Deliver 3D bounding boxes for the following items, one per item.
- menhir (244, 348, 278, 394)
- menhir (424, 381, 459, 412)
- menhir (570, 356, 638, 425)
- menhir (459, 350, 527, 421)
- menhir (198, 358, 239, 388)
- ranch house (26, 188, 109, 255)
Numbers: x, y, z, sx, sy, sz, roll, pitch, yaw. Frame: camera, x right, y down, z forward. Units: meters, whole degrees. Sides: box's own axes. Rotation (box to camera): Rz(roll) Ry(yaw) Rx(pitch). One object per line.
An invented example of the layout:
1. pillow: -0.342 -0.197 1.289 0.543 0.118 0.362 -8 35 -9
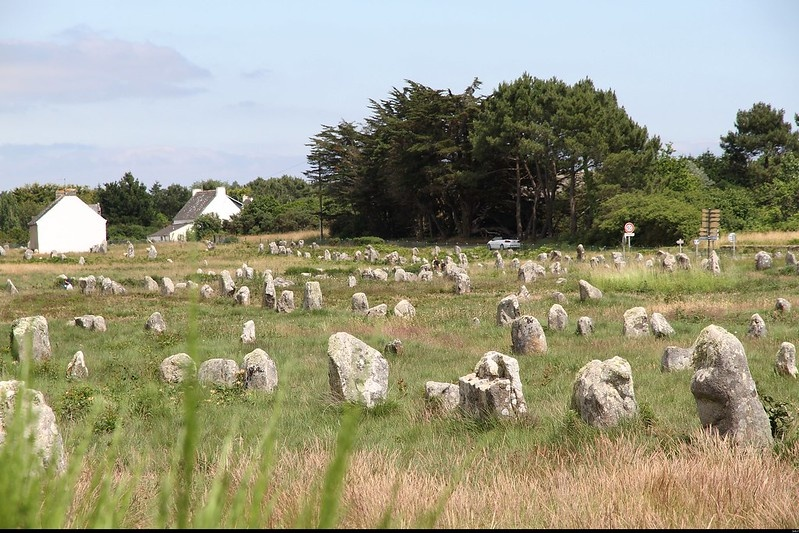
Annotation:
1. menhir: -5.390 4.033 43.867 1.337 1.329 0.792 -3 1 -9
2. menhir: 1.606 4.855 42.536 1.032 0.955 1.021 -1 2 -1
3. menhir: 7.389 4.542 40.989 2.204 2.411 0.863 -2 1 7
4. menhir: 3.477 4.422 42.115 1.853 2.331 2.429 -11 15 -34
5. menhir: -6.993 4.115 44.129 1.534 0.863 0.859 -3 1 -9
6. ranch house: -27.153 -4.708 95.459 6.556 4.957 6.889 1 -1 -28
